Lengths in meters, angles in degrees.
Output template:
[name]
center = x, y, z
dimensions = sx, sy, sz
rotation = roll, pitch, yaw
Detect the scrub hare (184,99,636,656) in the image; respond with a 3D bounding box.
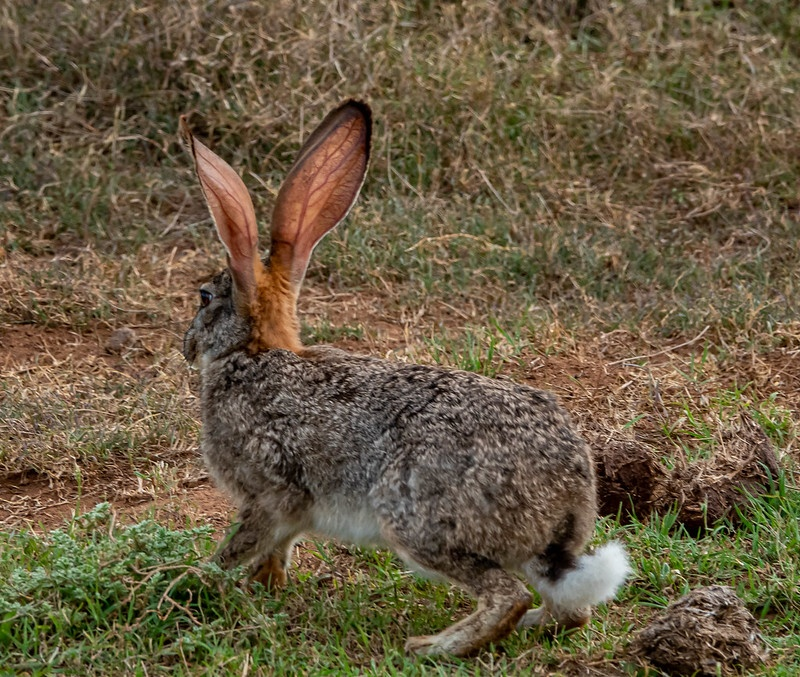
[scrub hare]
center = -0.174, 0.099, 4.330
dimensions = 1.054, 2.040, 2.418
rotation = -14, 15, -41
